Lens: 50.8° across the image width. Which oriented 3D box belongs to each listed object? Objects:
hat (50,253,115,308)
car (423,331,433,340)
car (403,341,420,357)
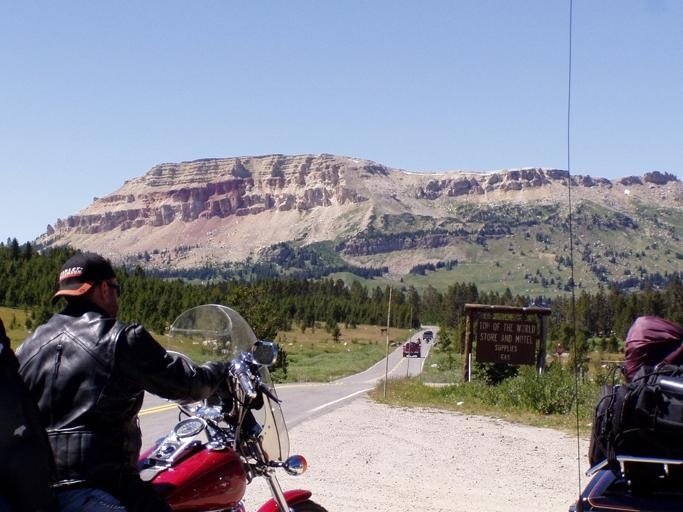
[{"bbox_3d":[-1.758,0.160,4.918,0.264,0.257,0.397,-6,1,24],"label":"hat"},{"bbox_3d":[14.222,13.229,118.873,0.983,1.035,2.001,1,5,8],"label":"car"},{"bbox_3d":[7.771,10.528,80.715,1.419,1.326,2.603,-1,-8,2],"label":"car"}]
